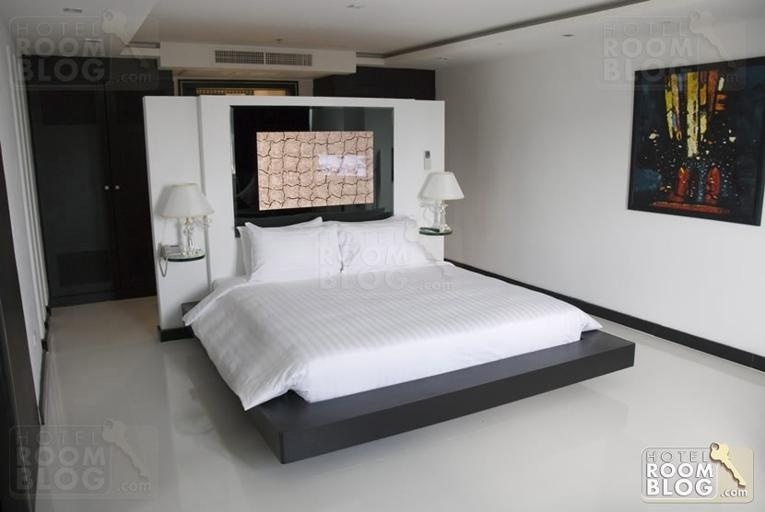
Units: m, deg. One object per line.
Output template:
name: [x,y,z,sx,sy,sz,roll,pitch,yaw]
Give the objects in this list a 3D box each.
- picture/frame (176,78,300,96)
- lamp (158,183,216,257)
picture/frame: [-2.068,-2.459,7.427,1.698,0.234,0.092,-8,14,-20]
lamp: [-2.058,-0.373,5.426,0.479,0.772,0.491,-6,18,-23]
